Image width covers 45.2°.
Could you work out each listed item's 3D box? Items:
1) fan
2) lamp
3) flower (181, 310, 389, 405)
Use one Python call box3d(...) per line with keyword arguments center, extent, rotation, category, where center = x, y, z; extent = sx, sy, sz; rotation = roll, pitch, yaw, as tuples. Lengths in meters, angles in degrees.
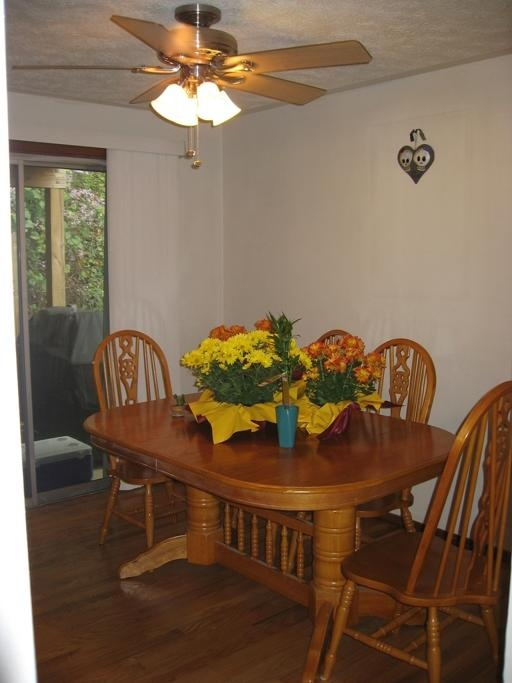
box3d(center=(-0.261, -1.124, 2.368), extent=(0.746, 0.179, 0.753), rotation=(2, 4, 37), category="fan")
box3d(center=(-0.187, -0.755, 1.970), extent=(0.189, 0.055, 0.194), rotation=(8, -9, -29), category="lamp")
box3d(center=(0.091, 0.070, 2.218), extent=(0.594, 0.274, 0.367), rotation=(2, 3, 7), category="flower")
